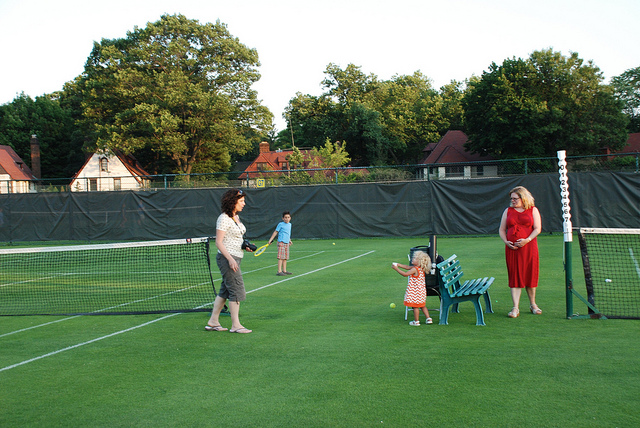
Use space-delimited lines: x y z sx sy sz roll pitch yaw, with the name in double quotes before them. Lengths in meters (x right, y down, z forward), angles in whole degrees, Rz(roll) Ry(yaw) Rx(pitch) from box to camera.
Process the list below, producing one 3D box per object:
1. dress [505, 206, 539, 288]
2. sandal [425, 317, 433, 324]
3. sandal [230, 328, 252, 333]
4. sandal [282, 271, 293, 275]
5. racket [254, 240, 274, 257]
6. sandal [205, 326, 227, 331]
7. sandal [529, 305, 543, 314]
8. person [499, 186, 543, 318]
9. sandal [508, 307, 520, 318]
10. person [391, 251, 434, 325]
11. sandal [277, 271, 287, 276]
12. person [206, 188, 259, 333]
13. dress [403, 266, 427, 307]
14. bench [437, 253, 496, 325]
"dress" 4.030 0.691 11.832 0.623 1.649 0.439 1 12 16
"sandal" 2.145 2.116 11.695 0.099 0.091 0.218 -2 -8 2
"sandal" -1.552 2.275 11.499 0.269 0.073 0.104 -2 -3 13
"sandal" -0.950 1.697 16.968 0.224 0.094 0.081 2 2 16
"racket" -2.109 1.216 22.196 0.109 0.445 1.417 24 -44 -29
"sandal" -2.128 2.265 11.686 0.253 0.075 0.092 2 1 -6
"sandal" 4.425 1.933 12.117 0.243 0.172 0.276 2 11 18
"person" 4.017 0.769 11.856 0.714 2.515 0.637 -1 12 4
"sandal" 3.901 2.003 11.926 0.158 0.177 0.490 -4 -8 23
"person" 1.820 1.469 11.611 0.500 1.431 0.785 7 15 38
"sandal" -1.074 1.692 16.772 0.265 0.073 0.180 -3 11 -5
"person" -1.796 0.927 11.715 0.924 2.809 1.114 -3 12 -6
"dress" 1.854 1.424 11.524 0.383 0.808 0.273 -1 12 6
"bench" 2.987 1.052 12.107 1.104 1.386 2.286 -2 1 14
